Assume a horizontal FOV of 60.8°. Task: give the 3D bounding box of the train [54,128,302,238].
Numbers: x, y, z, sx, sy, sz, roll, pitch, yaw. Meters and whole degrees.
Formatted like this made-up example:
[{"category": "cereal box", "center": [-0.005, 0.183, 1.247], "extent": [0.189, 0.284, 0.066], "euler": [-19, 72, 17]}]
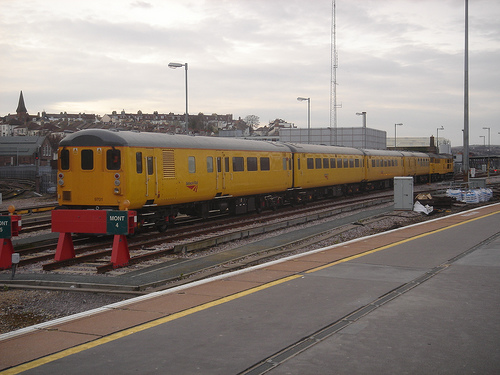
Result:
[{"category": "train", "center": [-2.236, -0.515, 22.600], "extent": [3.487, 3.510, 17.170], "euler": [0, 3, 24]}]
